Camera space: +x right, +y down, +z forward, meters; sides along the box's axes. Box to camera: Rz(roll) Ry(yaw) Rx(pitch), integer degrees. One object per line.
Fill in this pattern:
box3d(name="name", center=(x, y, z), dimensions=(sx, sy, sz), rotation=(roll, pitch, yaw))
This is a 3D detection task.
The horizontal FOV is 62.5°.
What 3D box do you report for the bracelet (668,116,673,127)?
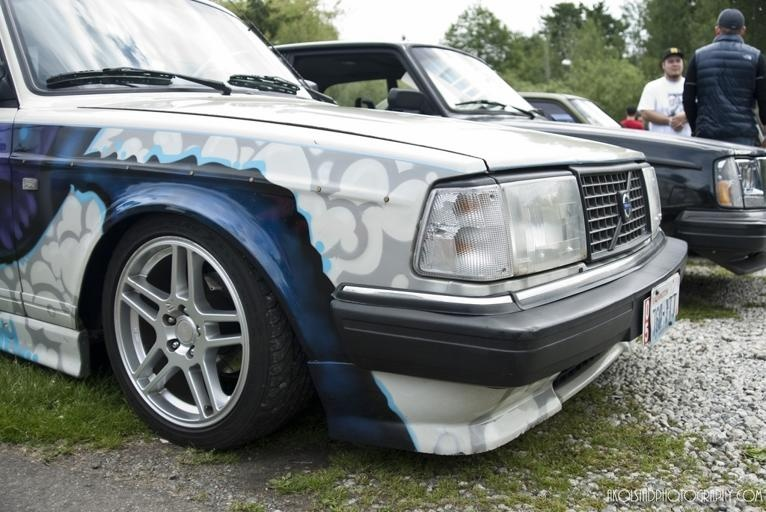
box3d(name="bracelet", center=(3.199, -1.500, 7.013), dimensions=(0.030, 0.084, 0.075), rotation=(-6, 12, 2))
